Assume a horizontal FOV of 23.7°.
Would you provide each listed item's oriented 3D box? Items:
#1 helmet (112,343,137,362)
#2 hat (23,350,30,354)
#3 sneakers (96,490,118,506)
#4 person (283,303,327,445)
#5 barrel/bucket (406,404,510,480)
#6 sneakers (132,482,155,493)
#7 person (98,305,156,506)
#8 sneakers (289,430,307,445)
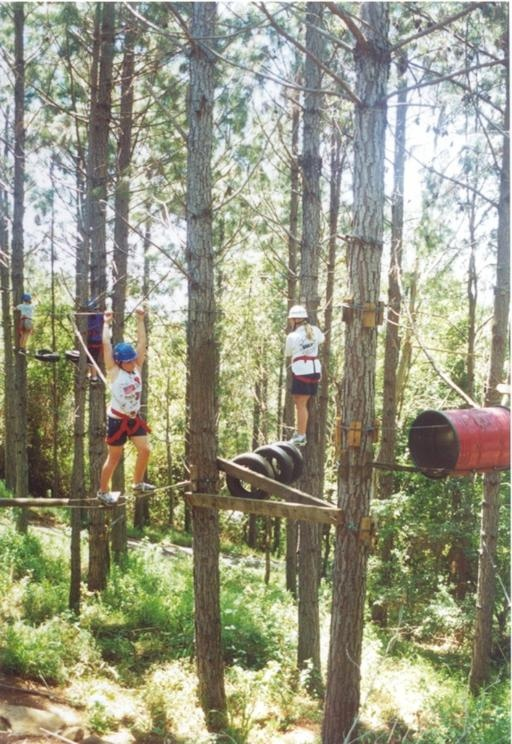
[{"bbox_3d":[-1.650,-0.232,15.358,0.294,0.229,0.277,9,10,-19],"label":"helmet"},{"bbox_3d":[-4.017,-0.350,21.289,0.138,0.041,0.147,6,8,30],"label":"hat"},{"bbox_3d":[-1.877,1.594,15.396,0.303,0.152,0.120,-10,-8,43],"label":"sneakers"},{"bbox_3d":[0.604,0.093,17.220,0.585,1.984,1.205,9,9,2],"label":"person"},{"bbox_3d":[2.448,0.716,14.910,1.253,1.001,0.926,-5,10,-11],"label":"barrel/bucket"},{"bbox_3d":[-1.409,1.464,15.416,0.304,0.165,0.122,-5,0,12],"label":"sneakers"},{"bbox_3d":[-1.661,0.450,15.511,0.848,2.546,0.856,8,9,-9],"label":"person"},{"bbox_3d":[0.586,0.939,16.890,0.103,0.165,0.317,-2,-11,33],"label":"sneakers"}]
